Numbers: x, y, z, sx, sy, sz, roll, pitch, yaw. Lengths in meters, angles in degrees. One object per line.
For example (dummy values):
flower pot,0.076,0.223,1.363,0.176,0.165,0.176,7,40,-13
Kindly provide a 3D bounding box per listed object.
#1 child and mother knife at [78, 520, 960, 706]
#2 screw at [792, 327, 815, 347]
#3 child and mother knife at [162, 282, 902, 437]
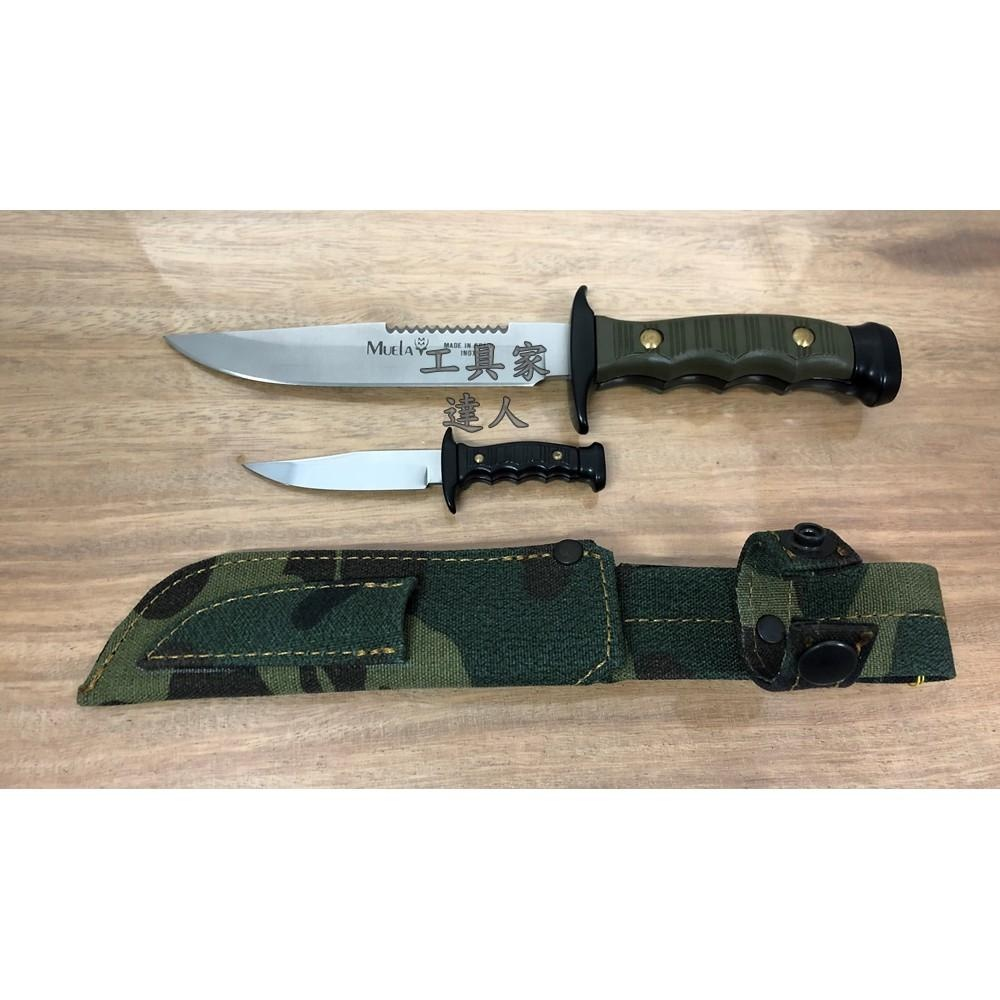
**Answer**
child and mother knife,0.058,0.192,1.682,1.439,0.133,0.186,-1,79,-7
screw,0.539,-0.284,1.816,0.045,0.009,0.030,-3,85,3
child and mother knife,-0.116,-0.254,1.947,1.663,0.160,0.311,0,71,3
